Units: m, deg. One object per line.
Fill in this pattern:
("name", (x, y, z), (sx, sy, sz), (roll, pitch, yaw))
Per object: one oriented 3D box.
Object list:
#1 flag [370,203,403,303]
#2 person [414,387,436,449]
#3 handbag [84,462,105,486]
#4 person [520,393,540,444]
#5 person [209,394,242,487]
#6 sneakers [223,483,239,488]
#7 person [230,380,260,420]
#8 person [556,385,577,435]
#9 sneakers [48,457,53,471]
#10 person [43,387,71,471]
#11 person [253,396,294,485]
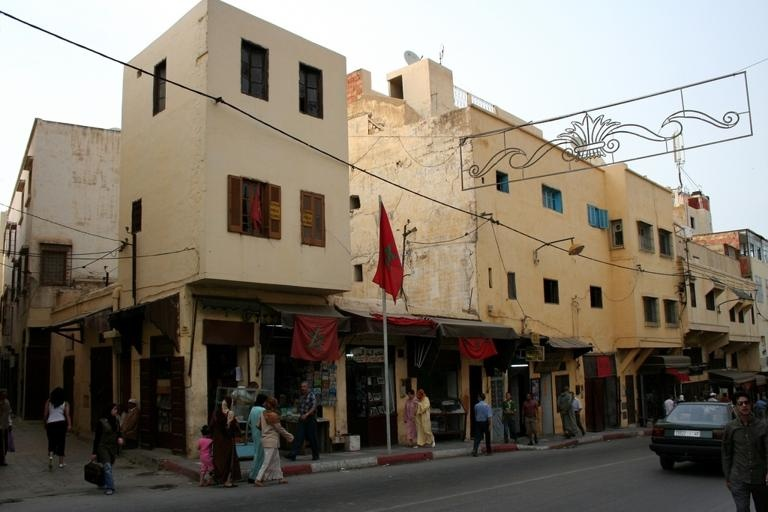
("flag", (0.071, -0.396, 28.532), (0.977, 3.852, 1.860), (-3, -13, 2))
("person", (1.420, 5.960, 28.644), (0.567, 2.039, 0.779), (-6, -14, 12))
("handbag", (-8.001, 6.047, 21.587), (0.256, 0.641, 0.720), (6, -10, -40))
("person", (5.918, 6.582, 31.586), (0.521, 2.035, 0.827), (-4, -13, 4))
("person", (-4.570, 5.312, 22.330), (0.826, 2.499, 0.667), (0, -14, -14))
("sneakers", (-4.383, 6.539, 22.220), (0.298, 0.107, 0.153), (-1, -6, -1))
("person", (-4.384, 4.591, 24.567), (0.489, 0.977, 0.892), (6, -7, 28))
("person", (8.002, 6.837, 34.229), (0.690, 2.205, 1.255), (-6, -14, 12))
("sneakers", (-10.313, 6.436, 24.121), (0.115, 0.377, 0.155), (0, -5, 0))
("person", (-10.314, 5.393, 24.539), (0.711, 2.480, 1.554), (3, -15, -23))
("person", (-3.284, 5.371, 22.661), (0.960, 2.455, 0.480), (-1, -13, -8))
